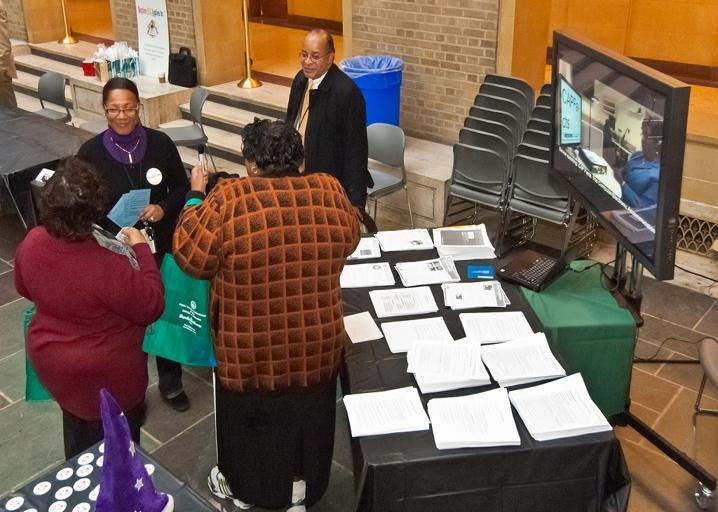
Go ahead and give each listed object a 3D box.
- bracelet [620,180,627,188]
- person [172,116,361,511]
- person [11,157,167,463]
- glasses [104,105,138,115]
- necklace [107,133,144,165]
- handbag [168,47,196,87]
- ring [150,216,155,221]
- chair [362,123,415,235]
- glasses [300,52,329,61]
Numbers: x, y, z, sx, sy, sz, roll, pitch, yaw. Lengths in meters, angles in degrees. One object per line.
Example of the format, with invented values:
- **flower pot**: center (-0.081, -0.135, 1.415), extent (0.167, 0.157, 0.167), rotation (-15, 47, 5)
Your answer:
- **bracelet**: center (1.439, -0.391, 2.645), extent (0.023, 0.022, 0.024), rotation (-6, 56, 14)
- **person**: center (-0.438, 0.552, 2.436), extent (0.795, 1.888, 0.394), rotation (3, 25, -1)
- **person**: center (-1.227, 0.352, 2.286), extent (0.622, 1.538, 0.389), rotation (-7, 27, -22)
- **glasses**: center (-1.445, -0.885, 2.969), extent (0.182, 0.046, 0.071), rotation (-7, 28, -20)
- **necklace**: center (-1.469, -0.683, 3.092), extent (0.192, 0.217, 0.115), rotation (-15, 3, -21)
- **handbag**: center (-2.752, -2.944, 7.651), extent (0.560, 0.665, 0.274), rotation (12, 18, 26)
- **ring**: center (-1.314, -0.236, 3.116), extent (0.027, 0.028, 0.007), rotation (13, 4, -6)
- **chair**: center (0.159, -0.754, 5.056), extent (0.640, 1.095, 0.628), rotation (16, 32, 35)
- **glasses**: center (-0.362, -1.582, 3.864), extent (0.213, 0.063, 0.088), rotation (11, 27, 13)
